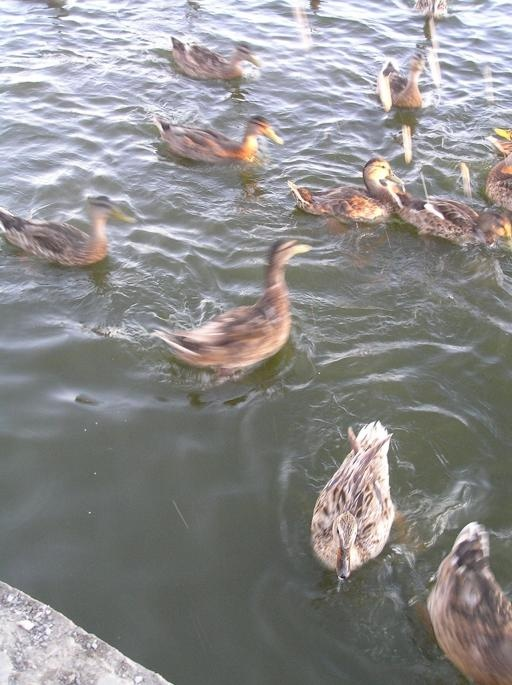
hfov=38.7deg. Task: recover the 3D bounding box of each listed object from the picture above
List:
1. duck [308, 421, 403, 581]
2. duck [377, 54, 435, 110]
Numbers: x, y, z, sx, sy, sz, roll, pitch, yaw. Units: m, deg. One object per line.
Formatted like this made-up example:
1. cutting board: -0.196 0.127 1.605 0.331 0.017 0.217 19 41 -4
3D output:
1. duck: 0.605 1.140 5.524 0.666 1.077 0.759 13 2 15
2. duck: 2.463 -4.388 12.275 0.797 0.705 1.200 8 36 4
